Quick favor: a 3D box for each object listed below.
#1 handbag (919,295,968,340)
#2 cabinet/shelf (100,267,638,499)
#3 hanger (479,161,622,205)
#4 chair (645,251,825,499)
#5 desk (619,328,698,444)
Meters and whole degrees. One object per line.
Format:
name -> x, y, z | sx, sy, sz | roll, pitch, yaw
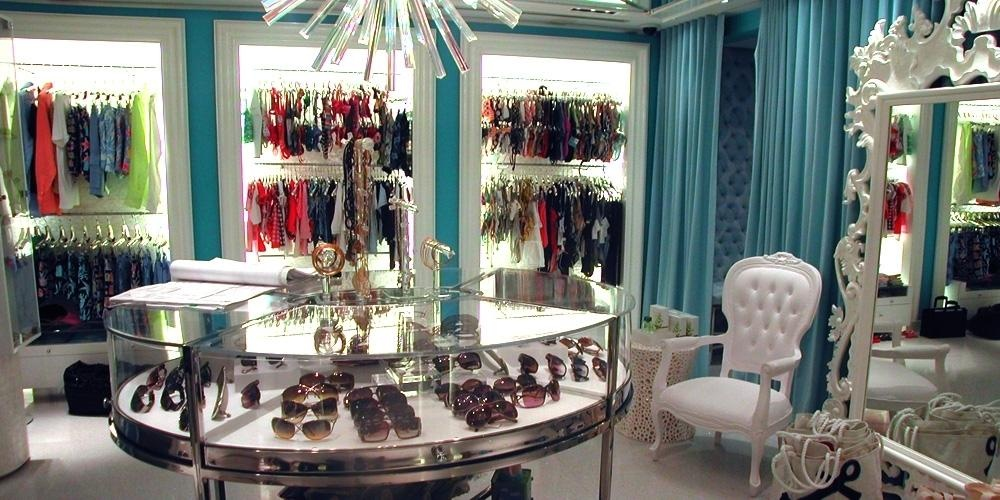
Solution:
handbag -> 3.409, 0.513, 5.030 | 0.354, 0.299, 0.133 | 5, 11, 35
cabinet/shelf -> -0.837, 0.976, 4.330 | 3.264, 1.436, 0.969 | -1, 7, 5
hanger -> 0.525, -0.666, 7.157 | 0.787, 0.223, 0.812 | -10, 15, -42
chair -> 1.989, 0.964, 5.496 | 1.151, 1.830, 0.785 | -5, 8, -25
desk -> 1.553, 1.340, 6.043 | 0.678, 0.772, 0.605 | 6, -16, 4
